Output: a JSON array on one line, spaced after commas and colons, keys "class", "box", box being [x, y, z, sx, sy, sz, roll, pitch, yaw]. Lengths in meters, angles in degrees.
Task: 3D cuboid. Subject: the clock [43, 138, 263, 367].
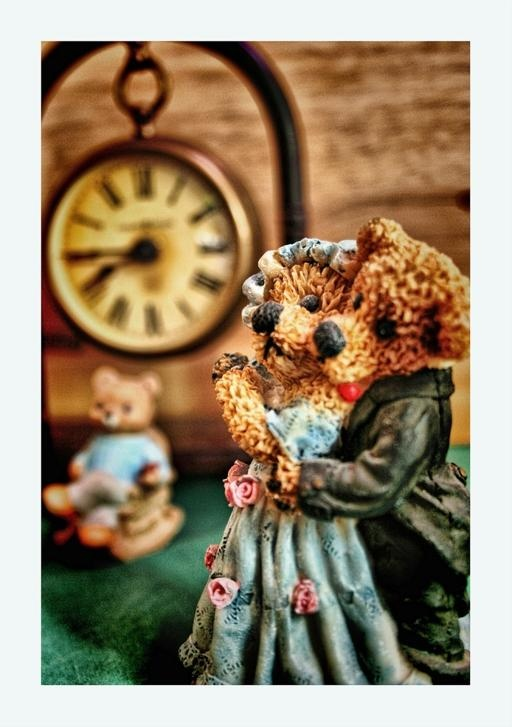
[{"class": "clock", "box": [-0.301, -0.359, 2.083, 0.814, 0.666, 0.108, 2, 2, 0]}]
